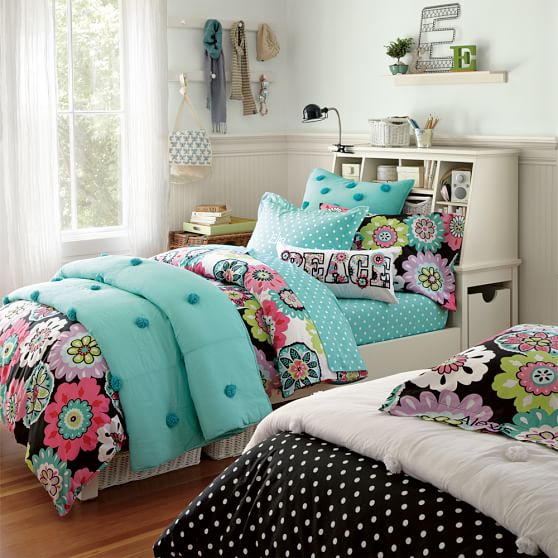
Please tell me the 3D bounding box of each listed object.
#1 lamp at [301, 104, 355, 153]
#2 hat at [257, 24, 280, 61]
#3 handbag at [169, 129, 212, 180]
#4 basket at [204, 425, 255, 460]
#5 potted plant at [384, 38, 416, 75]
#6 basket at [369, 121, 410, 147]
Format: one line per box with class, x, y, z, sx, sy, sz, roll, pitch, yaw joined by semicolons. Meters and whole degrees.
lamp;0.352;-1.174;3.885;0.336;0.369;0.792;0;16;1
hat;-0.111;-2.018;4.283;0.206;0.311;0.114;-15;23;-39
handbag;-0.690;-1.036;4.049;0.360;0.296;0.156;4;25;15
basket;-0.231;0.745;2.295;0.158;0.083;0.211;-7;-7;15
potted plant;0.834;-1.581;3.510;0.157;0.195;0.150;-3;36;-7
basket;0.723;-0.997;3.440;0.261;0.151;0.191;-7;14;-30
